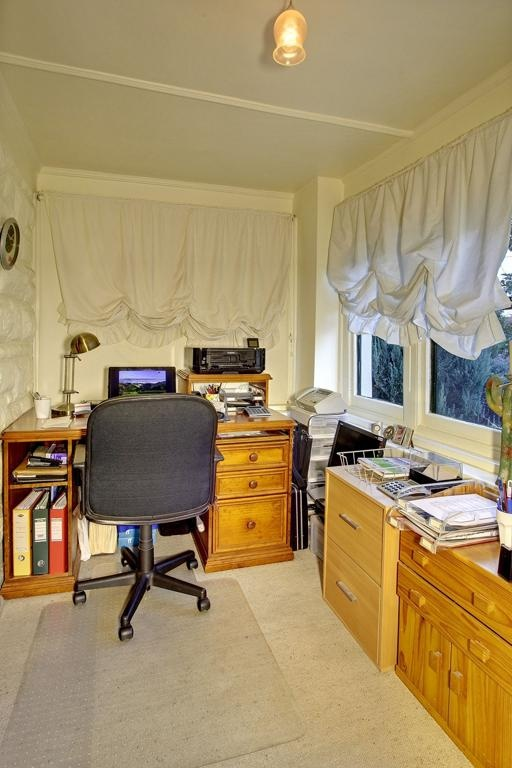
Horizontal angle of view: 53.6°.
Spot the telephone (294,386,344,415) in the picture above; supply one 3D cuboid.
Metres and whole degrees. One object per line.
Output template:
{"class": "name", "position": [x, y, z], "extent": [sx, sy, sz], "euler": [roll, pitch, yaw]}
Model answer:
{"class": "telephone", "position": [0.392, 0.101, 3.123], "extent": [0.222, 0.128, 0.382], "euler": [-1, 6, -14]}

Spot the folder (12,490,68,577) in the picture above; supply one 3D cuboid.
{"class": "folder", "position": [-0.987, 0.704, 2.305], "extent": [0.237, 0.336, 0.107], "euler": [-2, 6, -24]}

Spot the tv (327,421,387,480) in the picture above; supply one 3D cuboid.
{"class": "tv", "position": [0.491, 0.325, 2.464], "extent": [0.036, 0.250, 0.367], "euler": [-2, 6, -34]}

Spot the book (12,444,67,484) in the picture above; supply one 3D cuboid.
{"class": "book", "position": [-1.016, 0.349, 2.369], "extent": [0.195, 0.173, 0.218], "euler": [3, 6, -20]}
